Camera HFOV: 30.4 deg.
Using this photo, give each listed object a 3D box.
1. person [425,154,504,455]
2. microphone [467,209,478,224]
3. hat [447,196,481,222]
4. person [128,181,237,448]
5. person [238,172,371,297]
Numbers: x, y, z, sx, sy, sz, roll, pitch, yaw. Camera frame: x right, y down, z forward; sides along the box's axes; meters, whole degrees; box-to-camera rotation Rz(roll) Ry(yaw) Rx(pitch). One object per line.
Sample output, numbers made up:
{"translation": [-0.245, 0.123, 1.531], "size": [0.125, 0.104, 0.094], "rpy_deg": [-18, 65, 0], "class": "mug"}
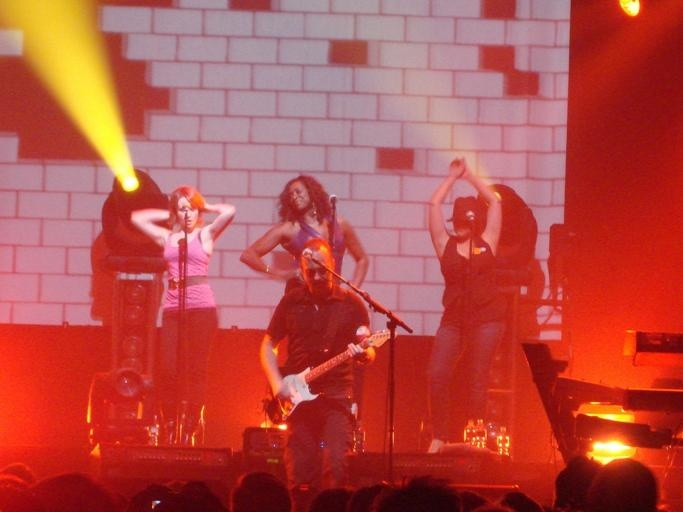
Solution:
{"translation": [1.168, 0.425, 11.937], "size": [0.687, 2.719, 1.072], "rpy_deg": [0, 3, 4], "class": "person"}
{"translation": [1.219, -0.366, 11.975], "size": [0.093, 0.121, 0.040], "rpy_deg": [-11, 22, 7], "class": "microphone"}
{"translation": [1.167, -0.446, 12.102], "size": [0.228, 0.308, 0.307], "rpy_deg": [2, -3, 8], "class": "hat"}
{"translation": [-1.424, 0.559, 11.817], "size": [0.676, 2.410, 0.804], "rpy_deg": [-1, 3, -18], "class": "person"}
{"translation": [-0.422, -0.166, 12.211], "size": [1.152, 1.820, 0.776], "rpy_deg": [-5, 2, 2], "class": "person"}
